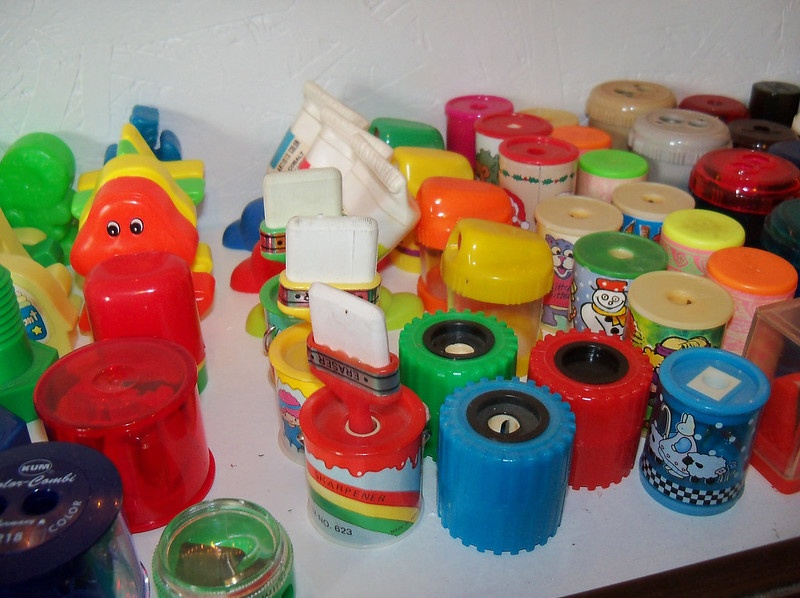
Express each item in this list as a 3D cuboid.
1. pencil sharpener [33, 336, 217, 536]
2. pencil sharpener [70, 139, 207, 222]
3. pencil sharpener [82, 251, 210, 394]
[{"bbox_3d":[-0.303,0.156,0.837,0.193,0.185,0.244,2,35,-15],"label":"pencil sharpener"},{"bbox_3d":[-0.486,-0.184,1.187,0.294,0.113,0.209,-7,11,-23],"label":"pencil sharpener"},{"bbox_3d":[-0.307,0.009,0.981,0.158,0.192,0.167,-8,31,-7],"label":"pencil sharpener"}]
